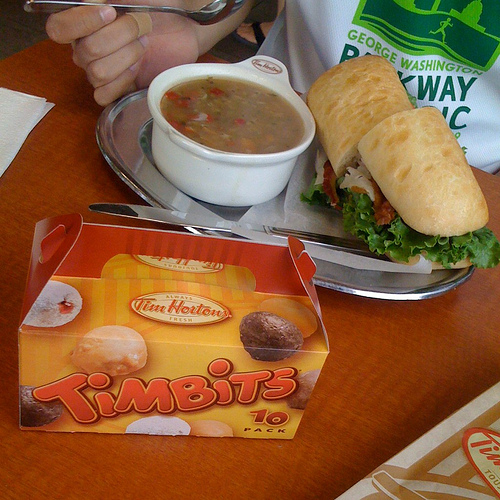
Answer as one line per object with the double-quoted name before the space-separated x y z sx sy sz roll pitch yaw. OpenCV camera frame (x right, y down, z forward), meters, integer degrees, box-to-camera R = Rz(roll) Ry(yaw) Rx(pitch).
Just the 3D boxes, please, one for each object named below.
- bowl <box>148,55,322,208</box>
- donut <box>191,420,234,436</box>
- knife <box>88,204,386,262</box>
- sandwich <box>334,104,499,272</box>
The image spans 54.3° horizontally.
"bowl" -0.030 -0.246 0.921 0.290 0.117 0.331 36 59 5
"donut" -0.042 0.189 0.515 0.040 0.022 0.007 6 50 -12
"knife" -0.017 -0.024 0.667 0.405 0.033 0.039 9 12 -11
"sandwich" 0.252 -0.084 0.879 0.263 0.110 0.292 -18 68 -6
